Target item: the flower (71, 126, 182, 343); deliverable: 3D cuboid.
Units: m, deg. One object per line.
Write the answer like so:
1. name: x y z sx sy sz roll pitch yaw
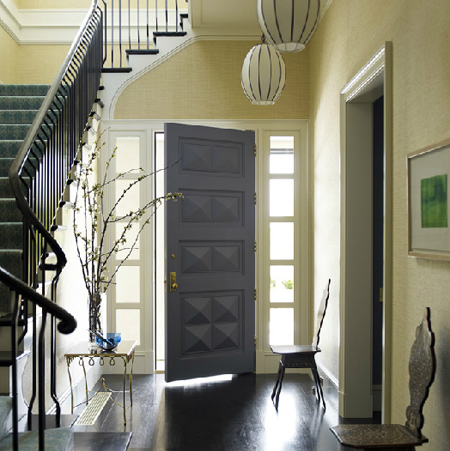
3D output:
1. flower: -0.979 0.095 4.640 0.813 2.822 1.701 -2 5 -25

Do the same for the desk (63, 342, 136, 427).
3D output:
1. desk: -1.001 1.281 3.889 0.472 0.556 0.417 0 -2 -6

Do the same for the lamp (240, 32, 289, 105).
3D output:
1. lamp: 0.278 -1.071 3.414 0.338 0.723 0.395 0 -1 -8

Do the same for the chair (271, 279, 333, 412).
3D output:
1. chair: 0.690 1.009 4.211 0.520 1.047 0.810 0 0 14
